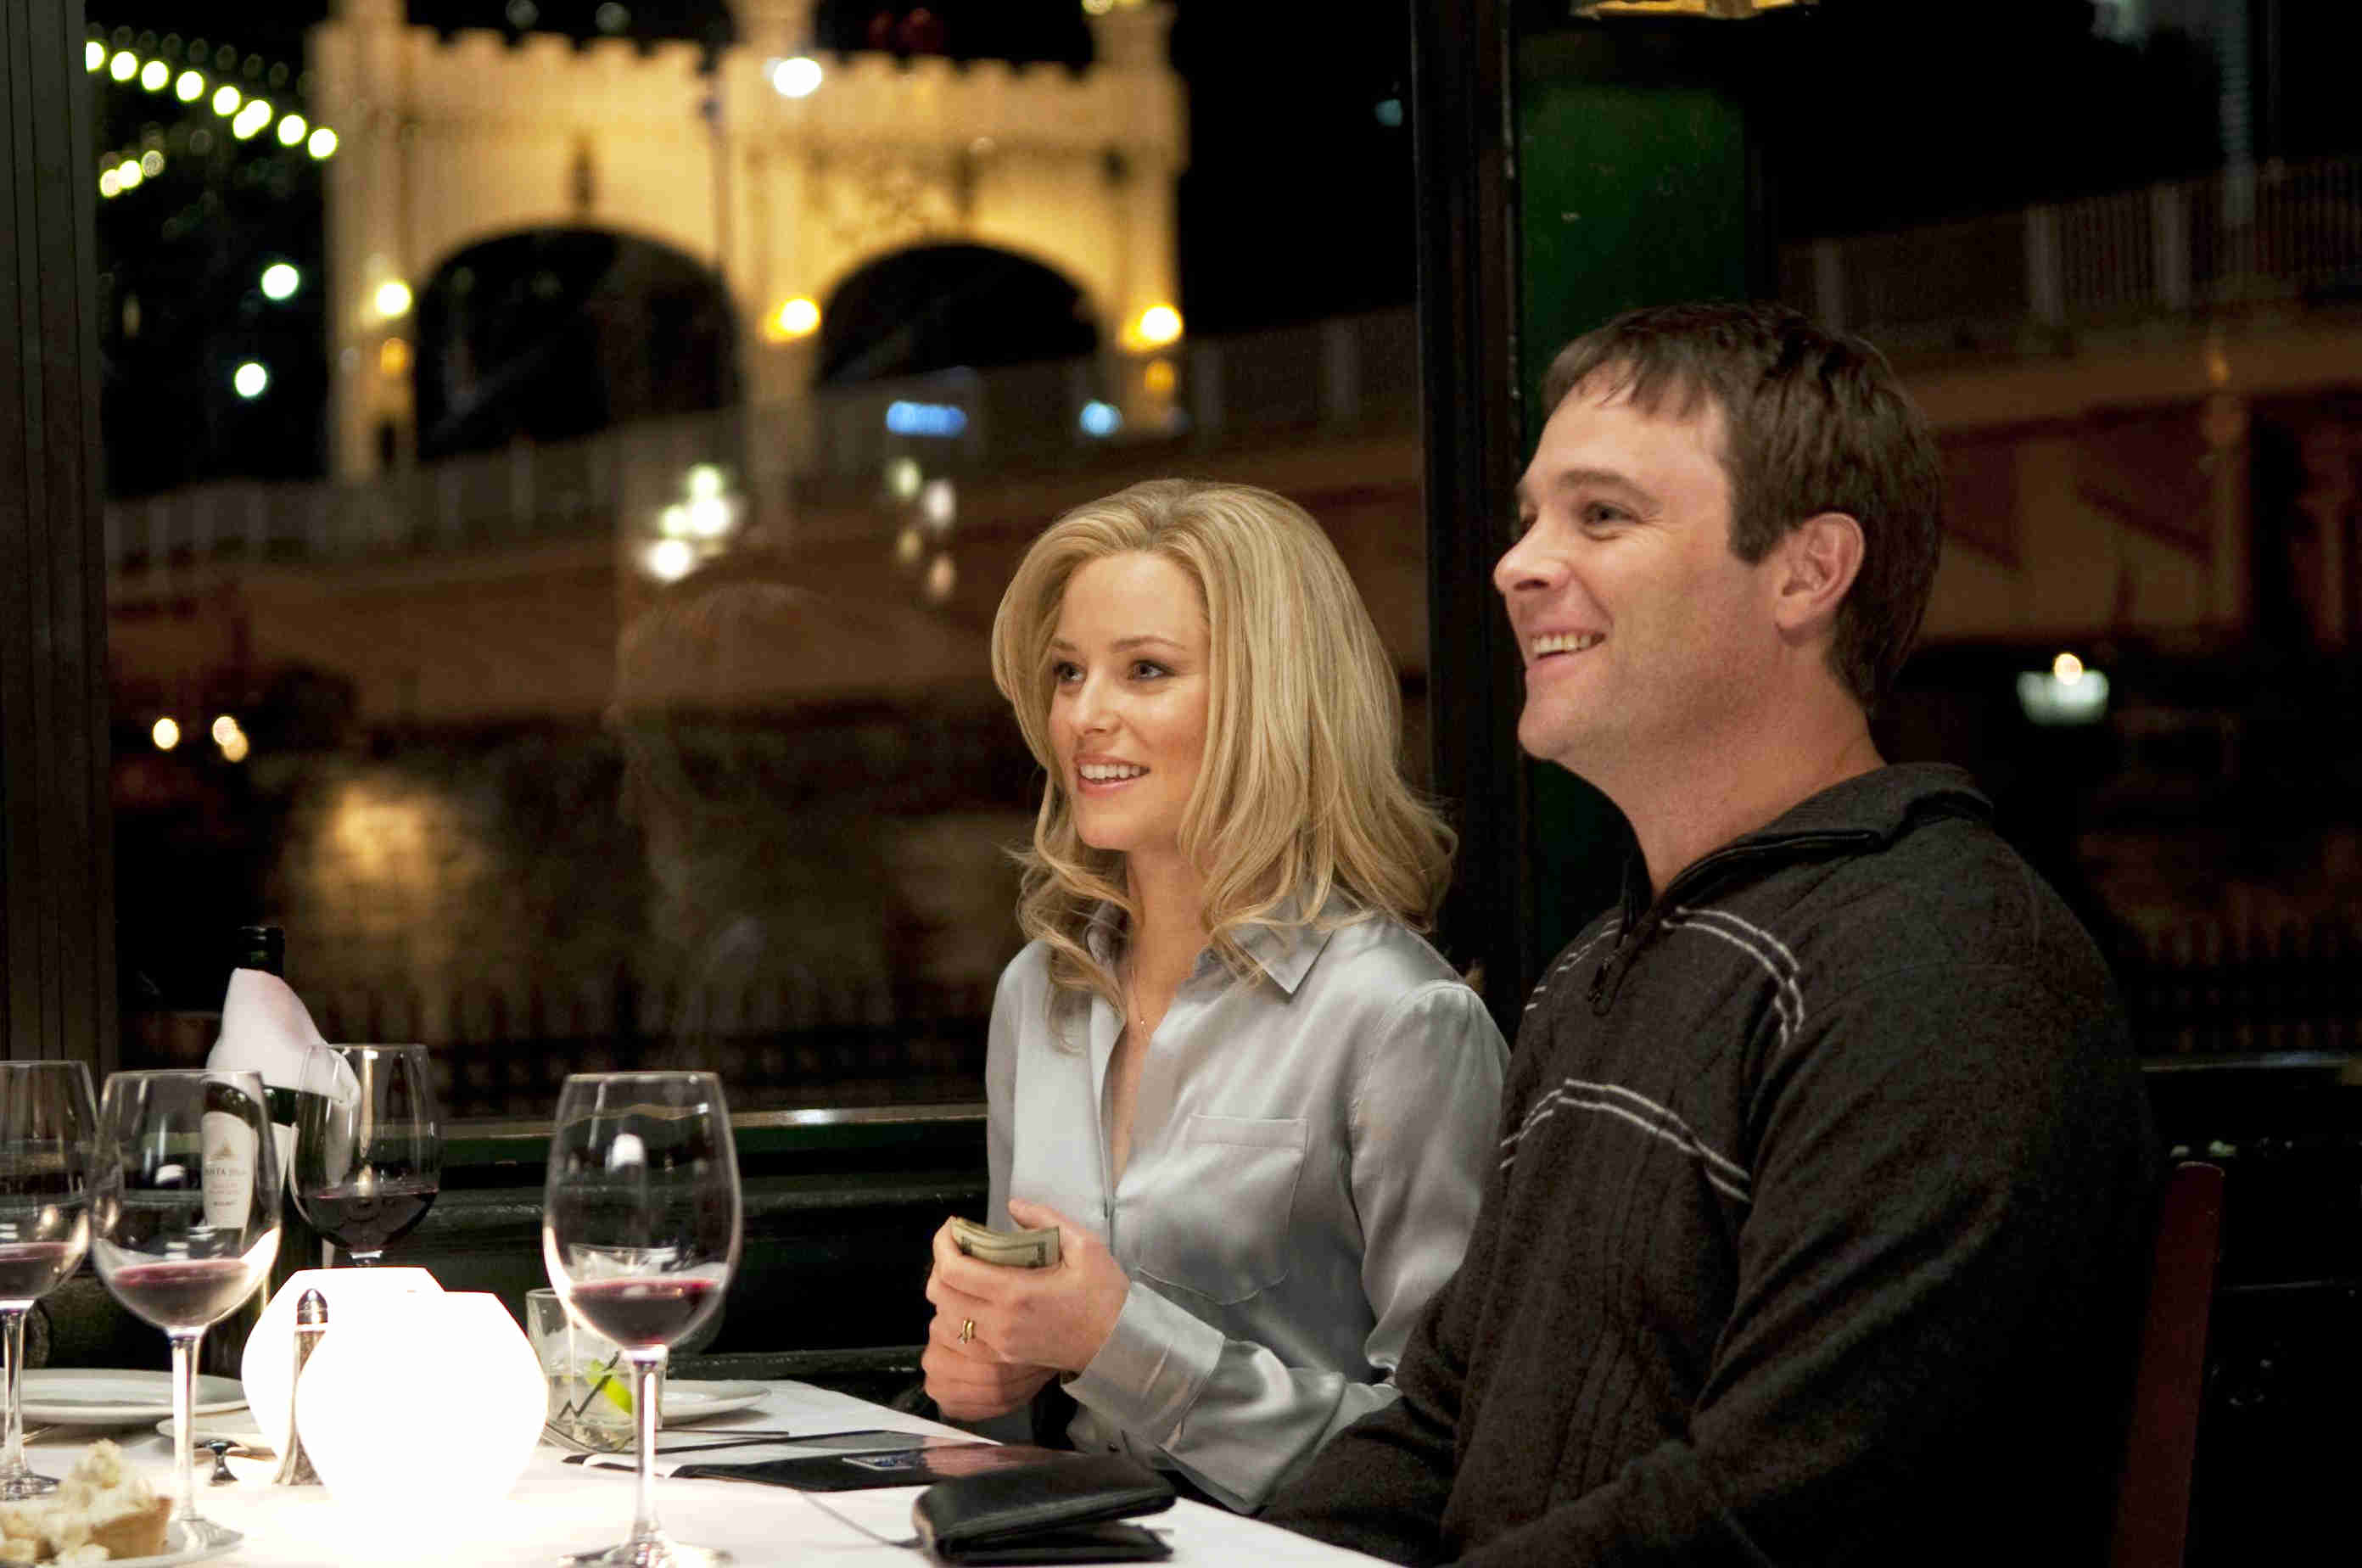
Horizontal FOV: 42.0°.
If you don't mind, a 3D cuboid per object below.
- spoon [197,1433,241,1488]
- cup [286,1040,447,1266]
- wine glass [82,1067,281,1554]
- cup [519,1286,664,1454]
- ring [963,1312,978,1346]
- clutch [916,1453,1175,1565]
[{"bbox_3d":[-1.071,0.755,3.440,0.038,0.042,0.038,1,2,2],"label":"spoon"},{"bbox_3d":[-0.942,0.431,3.567,0.157,0.250,0.149,-1,-2,0],"label":"cup"},{"bbox_3d":[-1.045,0.534,3.258,0.146,0.456,0.131,-2,-2,31],"label":"wine glass"},{"bbox_3d":[-0.671,0.683,3.556,0.165,0.188,0.167,-1,-9,0],"label":"cup"},{"bbox_3d":[-0.250,0.671,3.762,0.010,0.027,0.019,0,-3,-40],"label":"ring"},{"bbox_3d":[-0.138,0.748,3.182,0.262,0.087,0.138,-1,-2,-3],"label":"clutch"}]
